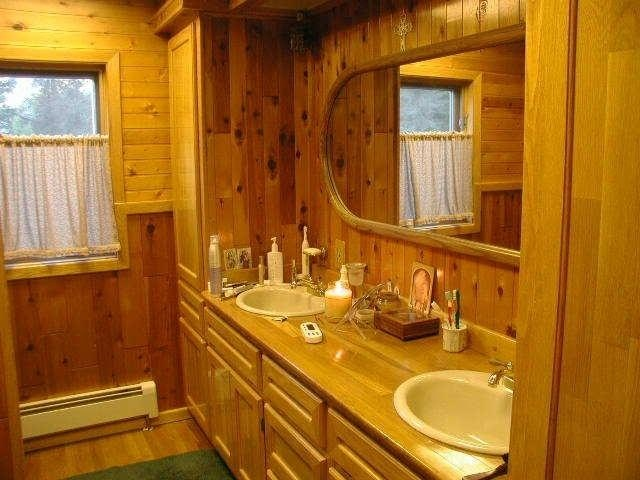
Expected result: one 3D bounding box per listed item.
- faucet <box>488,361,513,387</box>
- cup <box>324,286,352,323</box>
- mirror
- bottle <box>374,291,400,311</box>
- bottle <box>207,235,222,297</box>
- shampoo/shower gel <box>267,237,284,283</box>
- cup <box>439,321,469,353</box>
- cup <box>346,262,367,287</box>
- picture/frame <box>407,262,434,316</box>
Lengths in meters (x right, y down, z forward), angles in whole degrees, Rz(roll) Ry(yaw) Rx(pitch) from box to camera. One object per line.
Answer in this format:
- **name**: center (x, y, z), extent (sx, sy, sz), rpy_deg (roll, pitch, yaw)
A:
- **faucet**: center (0.638, 0.475, 1.799), extent (0.083, 0.112, 0.069), rpy_deg (-1, 2, -23)
- **cup**: center (0.091, 0.306, 2.482), extent (0.131, 0.165, 0.137), rpy_deg (0, 0, 0)
- **mirror**: center (0.464, -0.443, 2.300), extent (0.034, 0.735, 1.228), rpy_deg (-4, 8, -28)
- **bottle**: center (0.326, 0.283, 2.432), extent (0.082, 0.089, 0.088), rpy_deg (0, 2, 0)
- **bottle**: center (-0.626, 0.138, 2.991), extent (0.093, 0.333, 0.219), rpy_deg (-4, 8, -11)
- **shampoo/shower gel**: center (-0.281, 0.118, 3.083), extent (0.082, 0.271, 0.154), rpy_deg (-5, 8, -14)
- **cup**: center (0.557, 0.410, 2.159), extent (0.106, 0.114, 0.105), rpy_deg (0, 6, 0)
- **cup**: center (0.193, 0.167, 2.693), extent (0.098, 0.136, 0.124), rpy_deg (1, 2, 31)
- **picture/frame**: center (0.476, 0.230, 2.398), extent (0.019, 0.314, 0.213), rpy_deg (2, 1, -26)
